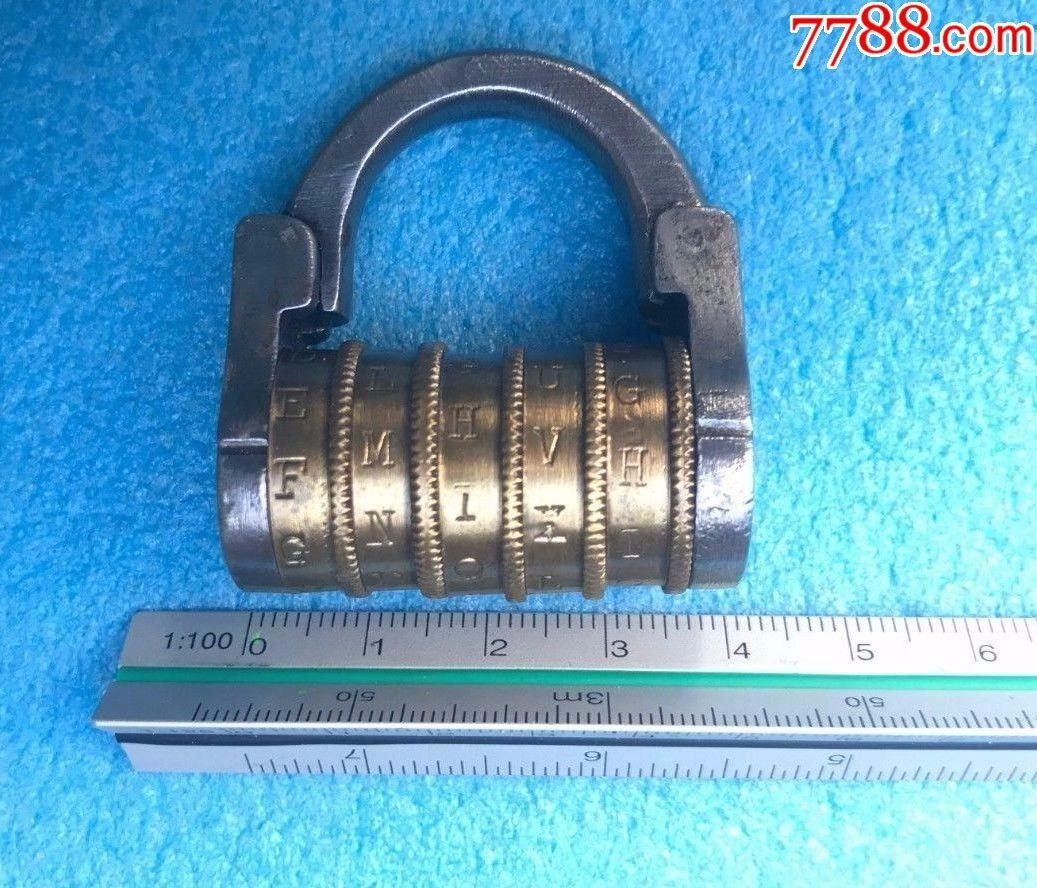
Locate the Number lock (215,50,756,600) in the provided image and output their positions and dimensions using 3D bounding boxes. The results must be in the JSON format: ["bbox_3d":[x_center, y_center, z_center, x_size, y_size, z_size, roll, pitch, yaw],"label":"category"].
[{"bbox_3d":[-0.027,-0.067,0.997,0.413,0.609,0.224,-1,-21,1],"label":"Number lock"}]
